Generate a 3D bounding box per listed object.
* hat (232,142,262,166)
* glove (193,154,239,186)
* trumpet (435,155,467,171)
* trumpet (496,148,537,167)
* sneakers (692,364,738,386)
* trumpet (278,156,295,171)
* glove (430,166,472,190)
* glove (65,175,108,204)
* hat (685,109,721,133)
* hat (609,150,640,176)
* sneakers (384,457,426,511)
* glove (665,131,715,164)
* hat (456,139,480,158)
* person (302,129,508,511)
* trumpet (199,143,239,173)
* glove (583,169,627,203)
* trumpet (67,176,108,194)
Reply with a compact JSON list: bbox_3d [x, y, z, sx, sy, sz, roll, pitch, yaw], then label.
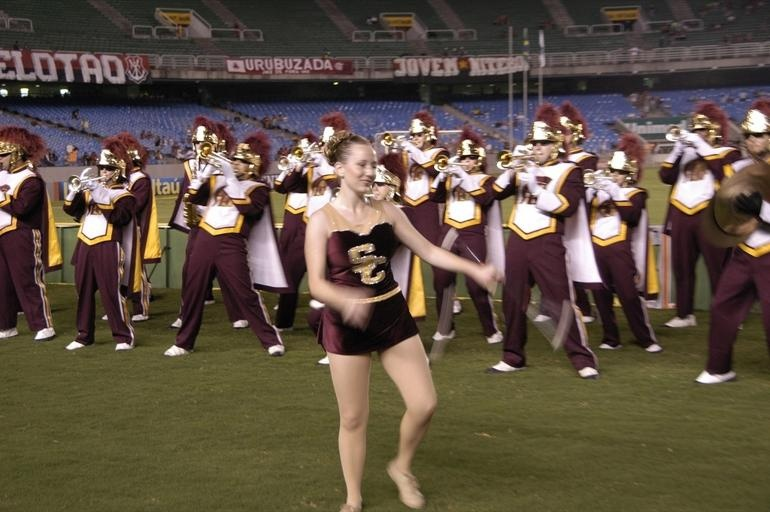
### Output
[{"bbox_3d":[-1.506,-1.094,7.709,0.342,0.179,0.217,8,-1,-29],"label":"hat"},{"bbox_3d":[-1.735,-0.862,7.383,0.333,0.374,0.184,30,7,-14],"label":"glove"},{"bbox_3d":[0.673,-1.011,7.811,0.349,0.161,0.352,0,9,-45],"label":"trumpet"},{"bbox_3d":[1.269,-0.940,6.906,0.320,0.126,0.184,-6,2,-42],"label":"trumpet"},{"bbox_3d":[3.093,1.145,6.641,0.443,0.122,0.127,0,-3,-8],"label":"sneakers"},{"bbox_3d":[-1.121,-1.052,8.168,0.200,0.173,0.345,-2,9,-7],"label":"trumpet"},{"bbox_3d":[0.729,-0.845,7.689,0.386,0.096,0.237,2,-22,9],"label":"glove"},{"bbox_3d":[-3.152,-0.713,7.787,0.313,0.173,0.571,10,0,18],"label":"glove"},{"bbox_3d":[3.566,-1.500,8.012,0.365,0.147,0.229,6,12,9],"label":"hat"},{"bbox_3d":[2.704,-1.032,8.061,0.353,0.225,0.247,24,0,-43],"label":"hat"},{"bbox_3d":[0.142,1.570,4.917,0.365,0.127,0.186,44,45,16],"label":"sneakers"},{"bbox_3d":[3.271,-1.194,7.612,0.570,0.141,0.381,11,11,-23],"label":"glove"},{"bbox_3d":[0.939,-1.199,7.955,0.208,0.129,0.252,-2,0,7],"label":"hat"},{"bbox_3d":[0.012,0.462,4.697,1.001,2.512,0.473,-2,12,-5],"label":"person"},{"bbox_3d":[-1.713,-0.962,7.392,0.184,0.249,0.228,7,13,38],"label":"trumpet"},{"bbox_3d":[2.299,-0.730,7.471,0.479,0.176,0.416,16,9,2],"label":"glove"},{"bbox_3d":[-3.198,-0.777,7.757,0.199,0.133,0.408,-17,-8,27],"label":"trumpet"}]
